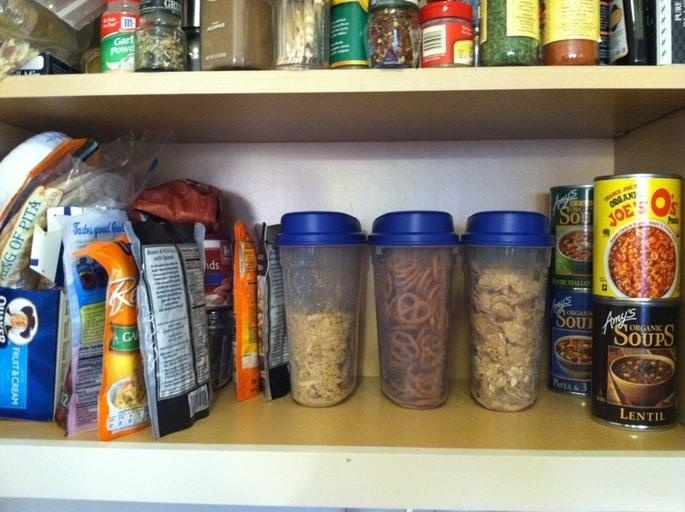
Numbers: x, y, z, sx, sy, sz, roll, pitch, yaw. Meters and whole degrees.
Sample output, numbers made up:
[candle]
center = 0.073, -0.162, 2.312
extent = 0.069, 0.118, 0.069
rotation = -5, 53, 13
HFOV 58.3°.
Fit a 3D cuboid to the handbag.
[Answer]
[handbag]
center = -0.320, -0.104, 1.199
extent = 0.123, 0.045, 0.110
rotation = 4, 38, -13
